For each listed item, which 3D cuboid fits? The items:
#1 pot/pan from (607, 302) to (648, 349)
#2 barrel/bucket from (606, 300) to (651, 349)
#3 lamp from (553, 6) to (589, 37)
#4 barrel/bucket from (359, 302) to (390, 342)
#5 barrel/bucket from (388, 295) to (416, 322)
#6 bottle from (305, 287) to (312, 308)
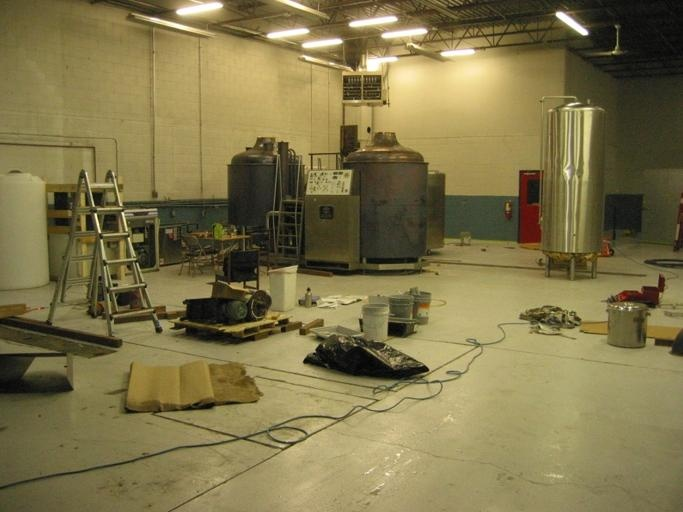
[{"bbox_3d":[3.061,0.774,6.286,0.640,0.456,0.510,0,2,3],"label":"pot/pan"},{"bbox_3d":[3.159,0.745,6.153,0.664,0.475,0.517,-1,2,1],"label":"barrel/bucket"},{"bbox_3d":[5.221,-5.426,12.590,0.409,0.494,1.472,3,6,37],"label":"lamp"},{"bbox_3d":[0.369,0.769,6.150,0.280,0.433,0.380,-1,5,0],"label":"barrel/bucket"},{"bbox_3d":[0.704,0.637,6.698,0.353,0.262,0.303,0,2,-12],"label":"barrel/bucket"},{"bbox_3d":[-0.496,0.601,8.023,0.077,0.261,0.102,1,6,12],"label":"bottle"}]
